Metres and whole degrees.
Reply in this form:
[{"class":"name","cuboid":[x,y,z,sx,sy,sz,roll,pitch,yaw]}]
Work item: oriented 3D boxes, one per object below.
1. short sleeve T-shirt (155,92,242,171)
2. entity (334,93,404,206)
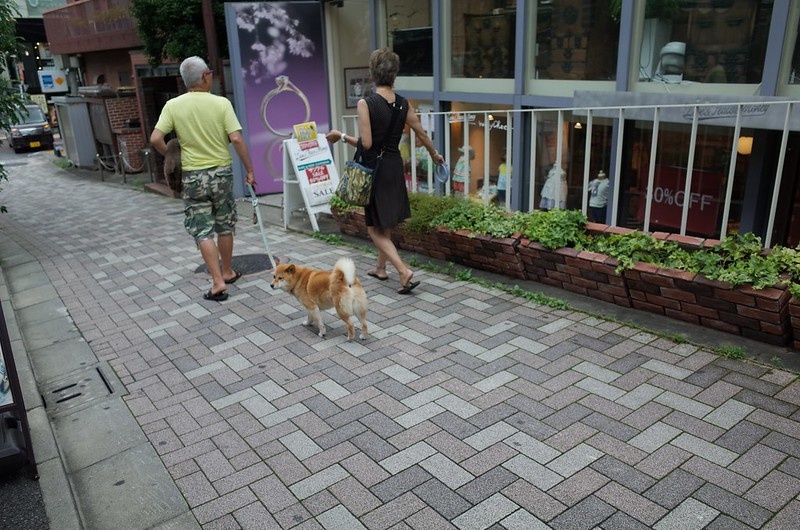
[{"class":"short sleeve T-shirt","cuboid":[-2.561,-1.642,5.560,0.445,0.859,1.048,30,37,34]},{"class":"entity","cuboid":[-0.457,-1.355,5.474,0.334,1.278,0.593,4,16,-32]}]
